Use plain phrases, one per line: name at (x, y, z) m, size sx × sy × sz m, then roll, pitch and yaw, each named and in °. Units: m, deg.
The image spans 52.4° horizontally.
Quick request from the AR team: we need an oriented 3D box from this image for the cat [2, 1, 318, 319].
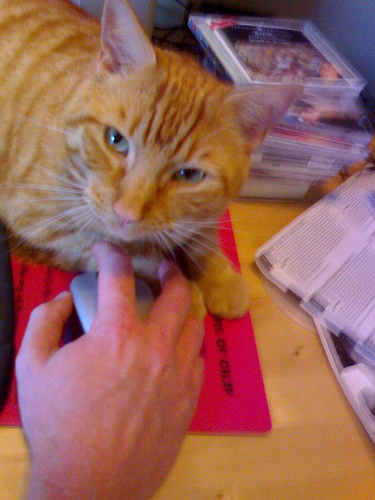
cat at (-0.076, -0.130, 0.480) m, size 0.243 × 0.279 × 0.425 m, roll -4°, pitch 54°, yaw -36°
